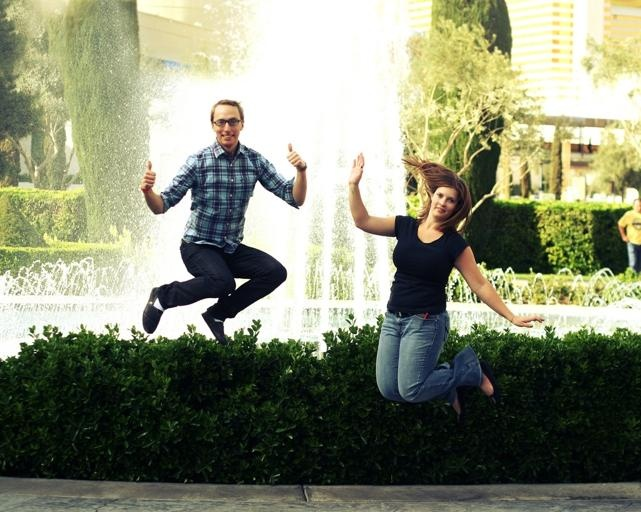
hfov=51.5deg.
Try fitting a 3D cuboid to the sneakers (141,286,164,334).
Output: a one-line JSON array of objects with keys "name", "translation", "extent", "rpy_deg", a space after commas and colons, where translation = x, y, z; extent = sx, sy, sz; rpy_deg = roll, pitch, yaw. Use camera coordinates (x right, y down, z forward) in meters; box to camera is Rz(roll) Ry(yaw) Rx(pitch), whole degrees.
[{"name": "sneakers", "translation": [-1.402, 0.446, 5.504], "extent": [0.135, 0.430, 0.166], "rpy_deg": [7, 11, -13]}]

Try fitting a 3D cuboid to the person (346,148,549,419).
[{"name": "person", "translation": [0.740, 0.203, 4.716], "extent": [1.157, 1.765, 0.417], "rpy_deg": [3, 5, -4]}]

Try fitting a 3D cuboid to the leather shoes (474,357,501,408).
[{"name": "leather shoes", "translation": [1.200, 0.904, 4.768], "extent": [0.100, 0.344, 0.117], "rpy_deg": [-18, 11, 36]}]

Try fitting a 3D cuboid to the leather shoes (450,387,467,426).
[{"name": "leather shoes", "translation": [0.967, 1.040, 4.696], "extent": [0.091, 0.290, 0.084], "rpy_deg": [-1, 15, 29]}]

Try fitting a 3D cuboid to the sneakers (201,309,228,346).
[{"name": "sneakers", "translation": [-0.845, 0.563, 5.260], "extent": [0.138, 0.366, 0.121], "rpy_deg": [-25, -22, -6]}]

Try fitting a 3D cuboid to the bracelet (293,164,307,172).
[{"name": "bracelet", "translation": [-0.174, -0.689, 5.195], "extent": [0.084, 0.064, 0.057], "rpy_deg": [8, 3, 18]}]

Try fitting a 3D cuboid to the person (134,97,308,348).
[{"name": "person", "translation": [-0.780, -0.282, 5.287], "extent": [1.252, 1.921, 0.509], "rpy_deg": [3, 5, -10]}]
